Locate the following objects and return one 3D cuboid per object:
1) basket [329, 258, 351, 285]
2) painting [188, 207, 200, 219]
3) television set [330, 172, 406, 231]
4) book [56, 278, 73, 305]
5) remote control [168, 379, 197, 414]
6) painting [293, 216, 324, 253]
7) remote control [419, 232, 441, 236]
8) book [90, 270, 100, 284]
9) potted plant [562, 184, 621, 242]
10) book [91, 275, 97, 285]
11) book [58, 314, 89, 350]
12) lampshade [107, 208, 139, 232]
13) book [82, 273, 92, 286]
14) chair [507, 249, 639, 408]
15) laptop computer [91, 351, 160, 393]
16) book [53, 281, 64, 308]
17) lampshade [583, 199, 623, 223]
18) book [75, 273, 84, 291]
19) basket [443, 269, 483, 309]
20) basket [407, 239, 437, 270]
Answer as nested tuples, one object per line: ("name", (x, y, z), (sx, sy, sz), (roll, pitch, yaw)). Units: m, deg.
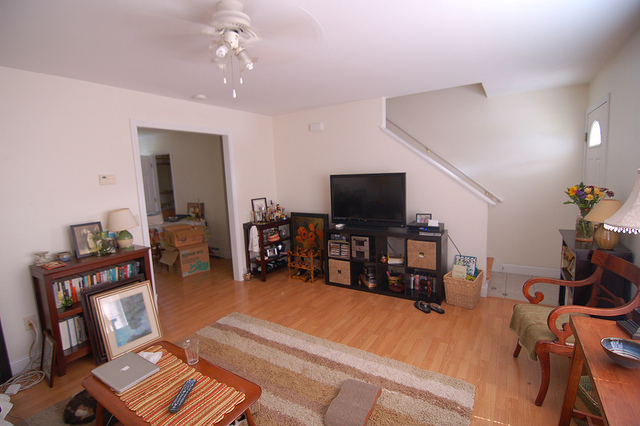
("basket", (0.374, 0.899, 6.614), (0.434, 0.406, 0.236), (4, 10, 37))
("painting", (-2.586, -0.011, 8.484), (0.220, 0.212, 0.118), (3, 11, 32))
("television set", (0.782, -0.179, 6.310), (0.864, 0.610, 0.235), (4, 14, 29))
("book", (-3.011, 0.918, 4.851), (0.158, 0.270, 0.281), (-19, 4, -35))
("remote control", (-1.278, 1.696, 3.908), (0.115, 0.065, 0.400), (-9, 20, 19))
("painting", (-0.200, 0.372, 7.060), (0.721, 0.720, 0.055), (1, 7, 28))
("remote control", (1.547, 0.291, 5.833), (0.307, 0.047, 0.070), (6, 15, 30))
("book", (-2.760, 0.779, 5.067), (0.131, 0.125, 0.069), (13, 25, 33))
("potted plant", (3.156, 0.011, 4.956), (0.619, 0.659, 0.625), (6, -7, 13))
("book", (-2.766, 0.811, 5.049), (0.022, 0.086, 0.095), (-4, -20, 36))
("book", (-3.041, 1.407, 4.929), (0.316, 0.327, 0.394), (-11, -1, -9))
("lampshade", (-2.542, 0.082, 5.338), (0.308, 0.280, 0.303), (-14, 16, -35))
("book", (-2.807, 0.797, 5.015), (0.093, 0.156, 0.166), (-17, -1, -13))
("chair", (2.688, 1.115, 4.956), (1.460, 1.999, 1.492), (-1, 5, 17))
("laptop computer", (-1.920, 1.559, 4.097), (0.569, 0.186, 0.357), (6, 15, 30))
("book", (-3.057, 0.946, 4.823), (0.081, 0.299, 0.043), (7, 17, 34))
("lampshade", (3.094, -0.042, 4.545), (0.297, 0.208, 0.296), (-4, 17, -2))
("book", (-2.884, 0.823, 4.951), (0.114, 0.145, 0.152), (-24, -8, -36))
("basket", (2.024, 1.035, 5.894), (0.461, 0.430, 0.430), (6, 15, 31))
("basket", (1.467, 0.537, 6.031), (0.513, 0.491, 0.364), (4, 9, 35))
